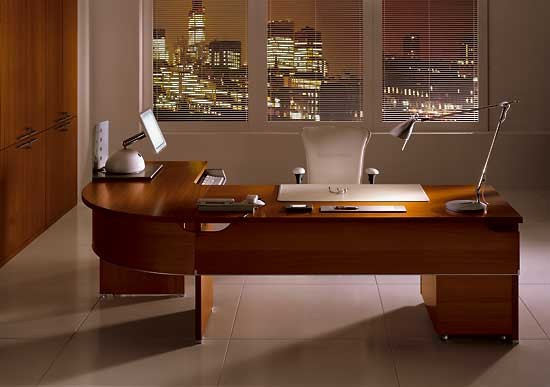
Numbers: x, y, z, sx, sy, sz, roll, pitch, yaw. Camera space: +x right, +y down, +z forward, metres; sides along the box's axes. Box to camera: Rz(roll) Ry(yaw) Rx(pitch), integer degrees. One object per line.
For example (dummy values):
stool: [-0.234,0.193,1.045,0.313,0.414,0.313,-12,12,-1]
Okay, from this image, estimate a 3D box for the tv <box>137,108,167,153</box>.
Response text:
tv: [-1.062,-0.539,4.220,0.192,0.401,0.635,0,12,-12]

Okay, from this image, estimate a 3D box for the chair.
chair: [0.561,-0.362,4.731,0.774,0.837,0.592,0,7,3]
